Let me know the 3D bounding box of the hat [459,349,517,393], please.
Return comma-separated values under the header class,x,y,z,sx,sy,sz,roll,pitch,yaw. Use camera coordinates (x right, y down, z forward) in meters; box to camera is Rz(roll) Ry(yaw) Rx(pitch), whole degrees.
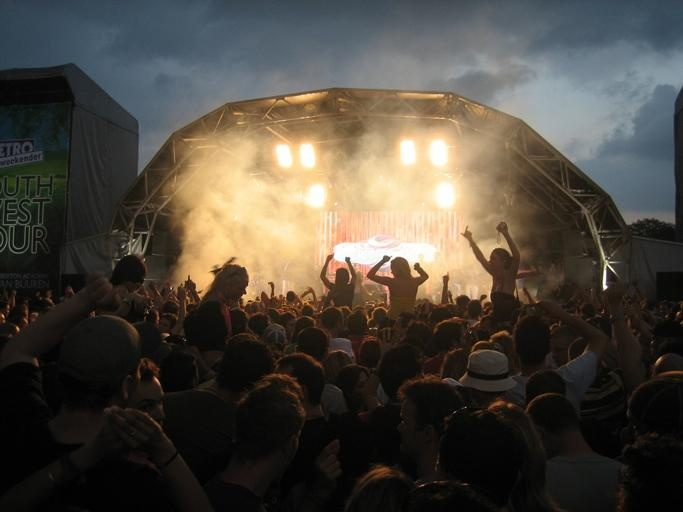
class,x,y,z,sx,sy,sz,roll,pitch,yaw
hat,1.061,0.827,4.204,0.441,0.293,0.550,-6,-13,35
